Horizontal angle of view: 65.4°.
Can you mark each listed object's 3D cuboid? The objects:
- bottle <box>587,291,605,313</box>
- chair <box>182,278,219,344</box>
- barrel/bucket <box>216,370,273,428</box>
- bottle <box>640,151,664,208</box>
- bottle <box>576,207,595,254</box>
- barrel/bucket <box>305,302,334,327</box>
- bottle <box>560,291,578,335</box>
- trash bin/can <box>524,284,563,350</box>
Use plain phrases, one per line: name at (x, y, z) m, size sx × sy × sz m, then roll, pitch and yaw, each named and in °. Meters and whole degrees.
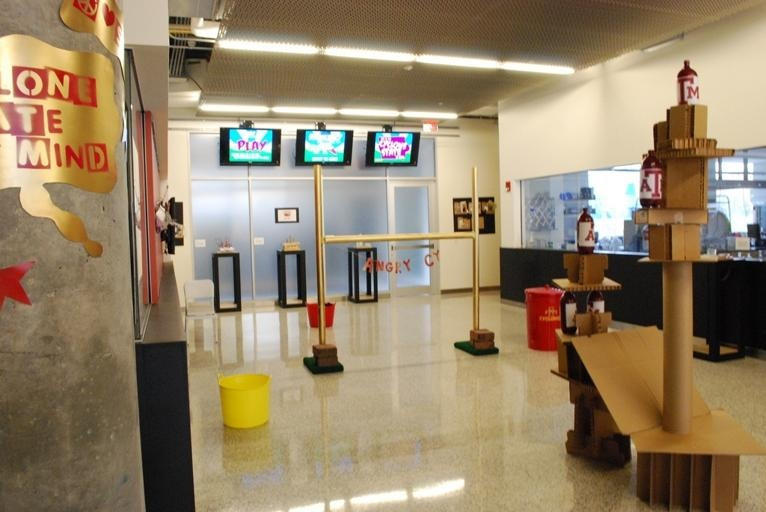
bottle at (1.615, 0.333, 4.555) m, size 0.106 × 0.150 × 0.151 m, roll 1°, pitch 10°, yaw 18°
chair at (-2.356, 0.722, 7.762) m, size 0.483 × 0.761 × 0.512 m, roll -5°, pitch 8°, yaw -36°
barrel/bucket at (-1.195, 1.239, 5.166) m, size 0.442 × 0.461 × 0.456 m, roll 0°, pitch 0°, yaw 0°
bottle at (1.725, -0.501, 3.863) m, size 0.132 × 0.357 × 0.222 m, roll 1°, pitch 10°, yaw 21°
bottle at (1.540, -0.200, 4.581) m, size 0.120 × 0.316 × 0.272 m, roll 1°, pitch 10°, yaw 18°
barrel/bucket at (-0.876, 0.807, 8.292) m, size 0.401 × 0.309 × 0.424 m, roll 1°, pitch -4°, yaw 0°
bottle at (1.397, 0.420, 4.530) m, size 0.115 × 0.344 × 0.225 m, roll 0°, pitch 9°, yaw 15°
trash bin/can at (1.949, 0.749, 7.132) m, size 0.461 × 0.766 × 0.456 m, roll -5°, pitch 8°, yaw -34°
